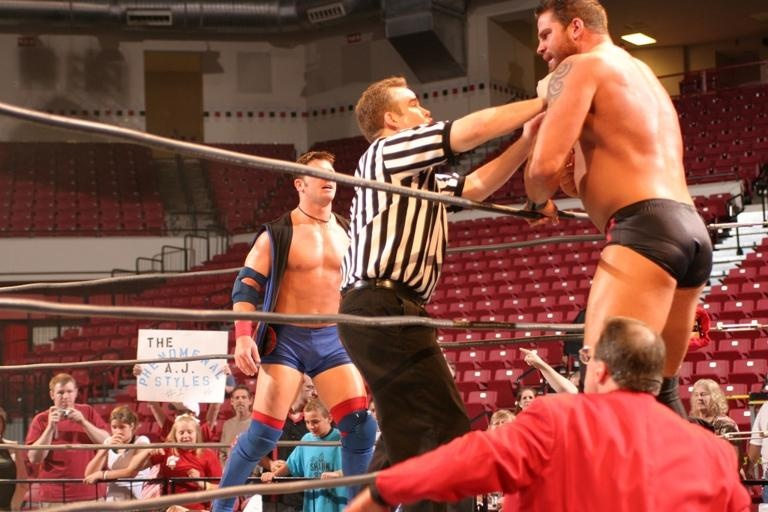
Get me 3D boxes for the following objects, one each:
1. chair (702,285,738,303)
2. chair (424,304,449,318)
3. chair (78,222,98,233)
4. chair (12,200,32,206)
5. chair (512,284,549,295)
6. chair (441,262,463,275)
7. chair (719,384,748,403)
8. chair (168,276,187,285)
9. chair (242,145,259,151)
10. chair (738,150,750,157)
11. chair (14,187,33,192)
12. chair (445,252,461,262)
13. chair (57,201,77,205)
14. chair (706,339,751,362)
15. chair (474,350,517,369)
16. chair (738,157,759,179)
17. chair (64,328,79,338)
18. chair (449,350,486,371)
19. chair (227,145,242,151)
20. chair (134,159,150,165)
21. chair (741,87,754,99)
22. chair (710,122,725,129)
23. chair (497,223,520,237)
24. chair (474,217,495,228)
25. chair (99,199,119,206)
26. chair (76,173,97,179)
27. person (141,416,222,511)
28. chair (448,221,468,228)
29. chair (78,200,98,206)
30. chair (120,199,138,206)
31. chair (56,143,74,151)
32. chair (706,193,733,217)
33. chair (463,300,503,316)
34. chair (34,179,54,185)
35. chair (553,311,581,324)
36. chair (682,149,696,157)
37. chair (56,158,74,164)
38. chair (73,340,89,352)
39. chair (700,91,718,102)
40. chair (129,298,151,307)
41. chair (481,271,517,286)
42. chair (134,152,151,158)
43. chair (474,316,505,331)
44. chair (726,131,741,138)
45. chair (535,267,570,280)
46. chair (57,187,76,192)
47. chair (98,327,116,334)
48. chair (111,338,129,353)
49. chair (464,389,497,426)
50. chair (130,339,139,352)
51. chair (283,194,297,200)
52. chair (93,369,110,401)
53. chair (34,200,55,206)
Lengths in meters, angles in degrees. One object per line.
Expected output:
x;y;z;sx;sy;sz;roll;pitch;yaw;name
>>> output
6.058;0.700;22.678;0.450;0.388;0.398;-3;-13;28;chair
0.976;1.051;24.384;0.438;0.313;0.342;14;-18;-42;chair
-6.481;-0.613;27.994;0.406;0.207;0.576;0;-1;-13;chair
-8.061;-1.146;28.367;0.435;0.170;0.198;1;0;-14;chair
2.848;0.643;24.044;0.390;0.127;0.309;-7;-5;43;chair
1.435;0.268;25.958;0.399;0.392;0.350;-1;-11;11;chair
5.654;2.191;20.451;0.320;0.352;0.325;-2;-21;8;chair
-4.504;0.579;27.621;0.260;0.195;0.255;9;-9;-30;chair
-3.267;-2.666;31.468;0.335;0.170;0.163;1;-16;-11;chair
7.509;-2.110;26.361;0.166;0.118;0.187;-6;-9;44;chair
-8.111;-1.462;28.633;0.360;0.113;0.164;0;0;-13;chair
1.369;0.037;24.572;0.160;0.170;0.161;-5;-13;25;chair
-7.090;-1.190;28.577;0.205;0.120;0.200;5;-6;-40;chair
5.902;1.585;21.458;0.480;0.297;0.463;-8;-15;34;chair
2.061;1.830;22.370;0.466;0.333;0.420;-4;-17;25;chair
7.430;-1.759;25.803;0.532;0.359;0.478;-12;4;3;chair
-6.331;1.614;25.825;0.217;0.198;0.257;5;-27;-28;chair
1.516;1.855;22.631;0.449;0.329;0.403;-1;-13;15;chair
-3.624;-2.638;30.983;0.349;0.182;0.956;0;-1;-6;chair
-5.710;-2.207;30.021;0.332;0.112;0.101;0;0;-10;chair
8.257;-3.653;28.737;0.435;0.223;0.452;10;13;19;chair
7.314;-2.829;27.710;0.208;0.119;0.209;-13;-7;43;chair
2.653;-0.518;26.565;0.279;0.240;0.329;-3;-8;30;chair
2.213;-0.701;27.397;0.272;0.289;0.286;-6;-10;36;chair
-6.220;-1.178;28.836;0.359;0.171;0.359;4;0;-37;chair
-6.836;-1.824;29.389;0.250;0.156;0.244;0;-2;42;chair
-2.813;2.957;17.718;1.057;1.921;0.794;-7;-35;-2;person
1.660;-0.675;27.762;0.322;0.184;0.285;0;0;-4;chair
-6.663;-1.165;28.683;0.244;0.141;0.226;2;-5;-24;chair
-5.753;-1.196;28.940;0.403;0.133;0.168;0;0;-10;chair
-7.435;-2.530;29.652;0.408;0.171;0.176;0;0;-11;chair
6.575;-0.994;24.768;0.585;0.545;0.509;-4;-7;21;chair
1.918;0.985;23.934;0.409;0.373;0.356;-2;-9;24;chair
-7.682;-1.641;28.801;0.403;0.115;0.159;0;0;-10;chair
3.346;1.134;22.988;0.340;0.345;0.293;1;-3;39;chair
6.516;-2.171;26.972;0.242;0.144;0.217;0;-3;1;chair
-7.370;-2.173;29.459;0.406;0.144;0.114;0;0;-12;chair
-6.016;1.823;25.240;0.261;0.205;0.214;7;-26;-6;chair
7.529;-3.654;29.249;0.304;0.116;0.364;-7;-2;20;chair
-4.878;0.944;25.416;0.333;0.101;0.253;-10;-11;32;chair
2.337;0.439;24.916;0.369;0.370;0.346;-2;-5;39;chair
-5.725;-2.393;30.156;0.382;0.177;0.191;0;0;-6;chair
1.561;0.988;18.452;0.378;0.303;0.416;-2;1;26;chair
7.461;-2.557;27.125;0.261;0.165;0.350;0;-1;-13;chair
3.276;0.349;24.472;0.385;0.196;0.280;-5;7;29;chair
-7.178;-1.488;28.791;0.380;0.136;0.143;0;0;-12;chair
-5.545;1.522;25.533;0.352;0.155;0.296;0;-1;-6;chair
-5.189;1.780;25.055;0.296;0.317;0.300;3;-19;-8;chair
1.472;2.526;21.071;0.727;0.649;0.620;-1;-15;7;chair
-4.921;1.768;25.015;0.240;0.247;0.228;0;-14;1;chair
-2.189;-1.348;30.114;0.225;0.132;0.201;1;-3;-5;chair
-5.387;2.458;24.409;0.429;0.500;0.556;2;-18;-13;chair
-7.565;-1.159;28.438;0.233;0.146;0.233;-6;-10;43;chair
